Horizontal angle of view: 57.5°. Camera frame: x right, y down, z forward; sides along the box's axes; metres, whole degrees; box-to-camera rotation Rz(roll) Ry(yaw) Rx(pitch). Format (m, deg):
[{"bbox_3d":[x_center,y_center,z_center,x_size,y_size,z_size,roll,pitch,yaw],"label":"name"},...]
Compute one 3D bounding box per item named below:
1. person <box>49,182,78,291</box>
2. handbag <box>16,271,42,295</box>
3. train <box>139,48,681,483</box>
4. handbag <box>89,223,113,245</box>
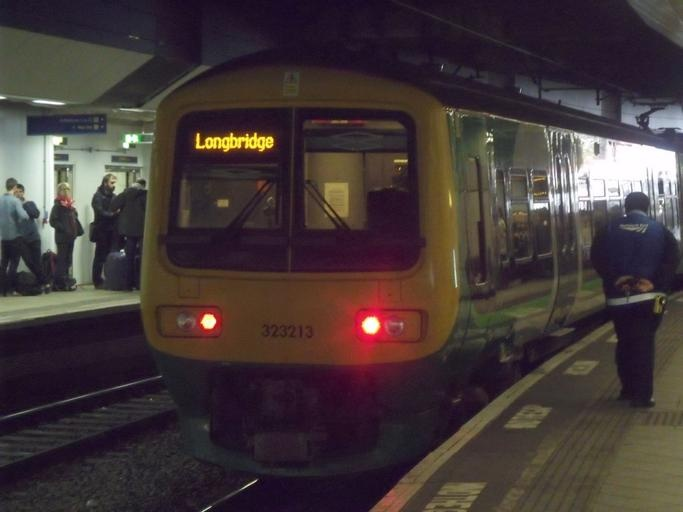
[{"bbox_3d":[-5.571,-0.379,12.561,0.570,2.140,0.357,0,3,-26],"label":"person"},{"bbox_3d":[-5.949,0.532,11.877,0.275,0.227,0.510,12,6,-8],"label":"handbag"},{"bbox_3d":[1.687,-0.083,8.305,2.251,3.388,9.402,0,2,30],"label":"train"},{"bbox_3d":[-5.042,-0.475,13.068,0.514,0.575,0.418,-1,5,-14],"label":"handbag"}]
